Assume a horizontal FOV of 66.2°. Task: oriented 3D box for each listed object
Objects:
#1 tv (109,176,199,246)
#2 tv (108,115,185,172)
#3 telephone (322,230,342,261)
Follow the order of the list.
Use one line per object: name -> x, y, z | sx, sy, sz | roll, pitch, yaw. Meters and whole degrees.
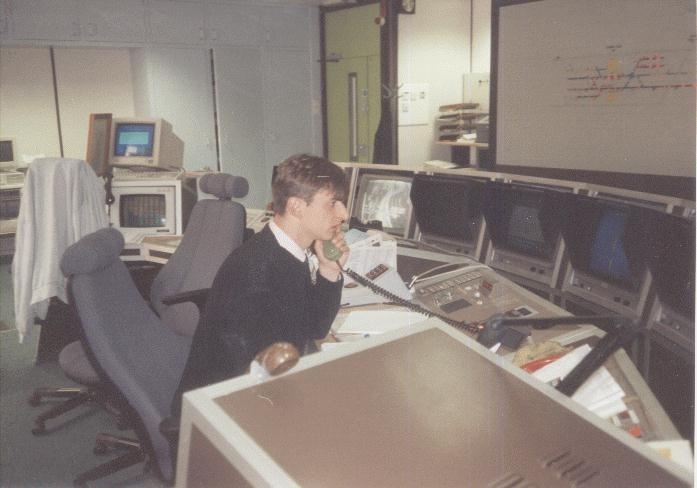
tv -> -1.141, -0.219, 3.363 | 0.606, 0.581, 0.362 | 0, 4, -4
tv -> -1.315, -0.639, 3.554 | 0.339, 0.273, 0.367 | 1, 0, 6
telephone -> -0.054, 0.001, 1.706 | 0.048, 0.040, 0.098 | 8, 47, -45
